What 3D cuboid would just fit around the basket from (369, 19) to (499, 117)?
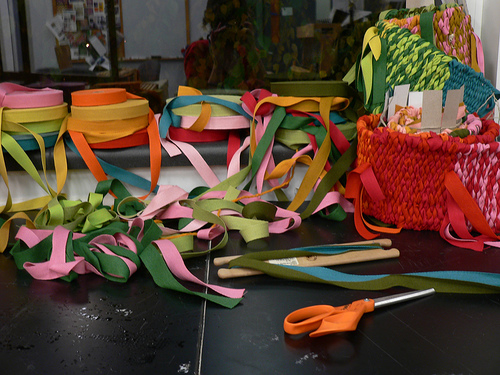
[{"bbox_3d":[0.469,-0.311,1.170,0.329,0.234,0.205,8,15,23],"label":"basket"}]
